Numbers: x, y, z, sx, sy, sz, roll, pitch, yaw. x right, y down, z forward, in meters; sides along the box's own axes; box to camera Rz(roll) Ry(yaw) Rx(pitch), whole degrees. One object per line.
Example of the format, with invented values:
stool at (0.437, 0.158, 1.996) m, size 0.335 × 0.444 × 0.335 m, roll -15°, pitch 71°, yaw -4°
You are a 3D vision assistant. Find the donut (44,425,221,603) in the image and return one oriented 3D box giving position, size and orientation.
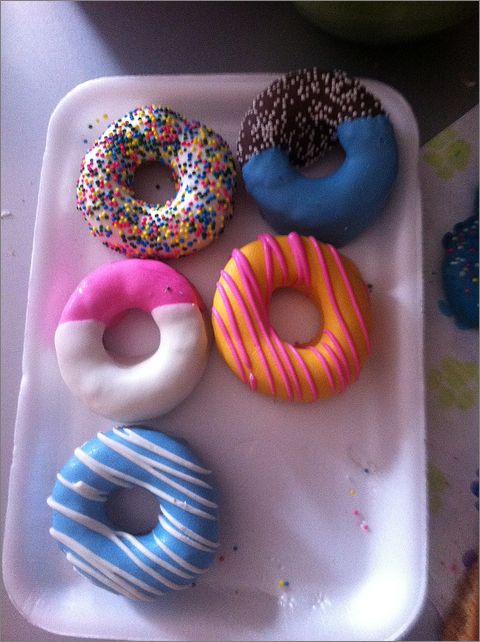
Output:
donut at (-0.279, 0.554, 1.889) m, size 0.421 × 0.206 × 0.533 m, roll 10°, pitch 32°, yaw 3°

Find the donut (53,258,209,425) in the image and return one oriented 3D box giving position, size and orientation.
donut at (-0.295, 0.044, 1.843) m, size 0.418 × 0.145 × 0.408 m, roll -18°, pitch 71°, yaw 1°

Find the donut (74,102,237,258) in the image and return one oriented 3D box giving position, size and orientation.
donut at (-0.236, -0.388, 1.880) m, size 0.442 × 0.190 × 0.364 m, roll -3°, pitch 72°, yaw 6°

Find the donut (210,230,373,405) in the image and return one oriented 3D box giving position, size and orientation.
donut at (0.135, -0.013, 1.806) m, size 0.423 × 0.175 × 0.399 m, roll 3°, pitch 72°, yaw 7°
